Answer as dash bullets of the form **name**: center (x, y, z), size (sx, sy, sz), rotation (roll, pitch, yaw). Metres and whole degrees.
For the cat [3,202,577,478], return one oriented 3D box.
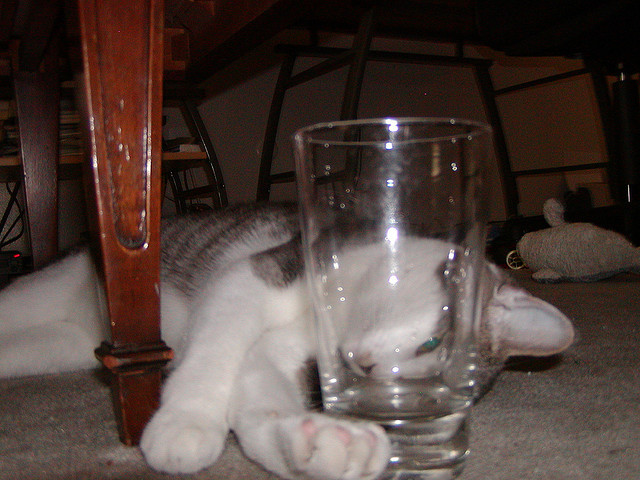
- **cat**: center (-0.334, 0.187, 1.390), size (0.417, 0.493, 1.782), rotation (31, -16, -34)
